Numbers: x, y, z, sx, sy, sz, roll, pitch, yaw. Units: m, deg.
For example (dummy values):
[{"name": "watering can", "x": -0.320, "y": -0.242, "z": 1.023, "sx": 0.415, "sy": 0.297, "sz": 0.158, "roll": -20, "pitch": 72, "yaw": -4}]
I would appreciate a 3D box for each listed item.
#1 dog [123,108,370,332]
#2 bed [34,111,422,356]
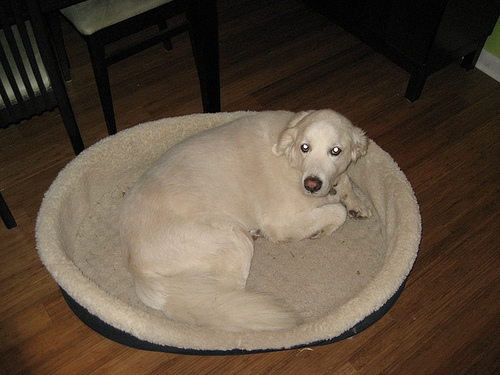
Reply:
[{"name": "dog", "x": -0.069, "y": 0.092, "z": 2.334, "sx": 0.983, "sy": 0.701, "sz": 1.163, "roll": 27, "pitch": 57, "yaw": 18}, {"name": "bed", "x": -0.117, "y": 0.246, "z": 2.506, "sx": 1.993, "sy": 0.334, "sz": 1.315, "roll": 8, "pitch": 54, "yaw": 4}]
